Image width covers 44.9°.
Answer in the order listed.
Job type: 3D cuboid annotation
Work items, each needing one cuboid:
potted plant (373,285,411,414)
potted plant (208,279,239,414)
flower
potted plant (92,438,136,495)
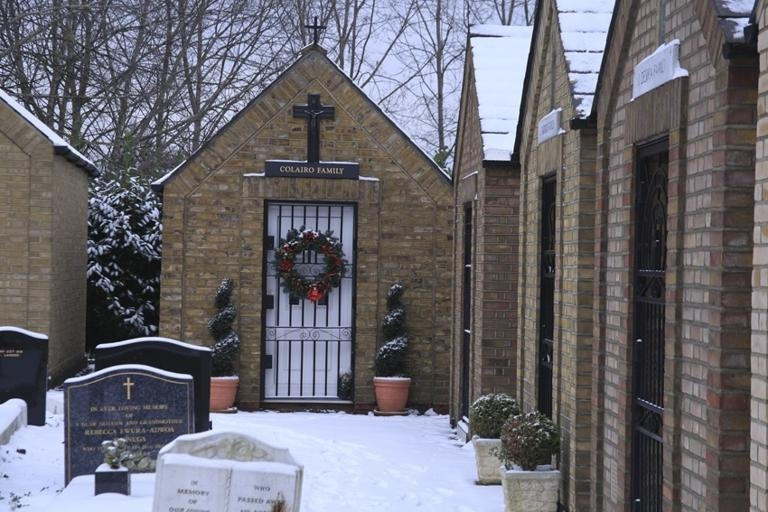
[{"bbox_3d":[0.163,1.670,16.814,0.631,2.339,0.658,3,4,1],"label":"potted plant"},{"bbox_3d":[-2.855,1.575,16.570,0.576,2.330,0.591,2,4,-9],"label":"potted plant"},{"bbox_3d":[-1.401,0.130,16.958,1.371,1.354,0.452,2,2,-6],"label":"flower"},{"bbox_3d":[-3.308,2.652,11.502,0.466,0.651,0.462,-12,-18,43],"label":"potted plant"}]
